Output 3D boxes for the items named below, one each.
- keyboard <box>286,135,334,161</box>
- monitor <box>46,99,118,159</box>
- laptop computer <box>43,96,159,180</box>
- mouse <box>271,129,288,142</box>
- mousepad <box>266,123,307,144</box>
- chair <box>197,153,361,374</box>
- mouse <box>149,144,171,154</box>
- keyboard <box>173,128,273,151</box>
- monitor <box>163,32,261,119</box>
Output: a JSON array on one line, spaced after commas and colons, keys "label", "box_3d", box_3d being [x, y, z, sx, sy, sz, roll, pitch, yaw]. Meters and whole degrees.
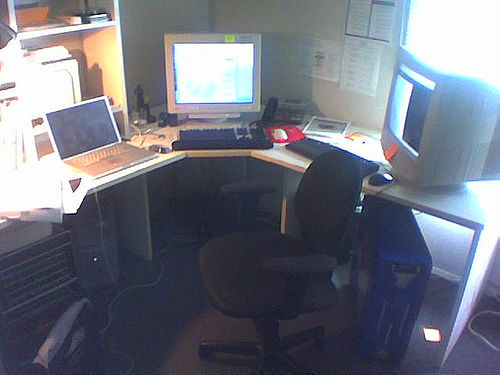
[{"label": "keyboard", "box_3d": [0.344, -0.236, 2.425, 0.151, 0.045, 0.215, -29, 46, -27]}, {"label": "monitor", "box_3d": [-0.911, -0.311, 2.274, 0.277, 0.199, 0.004, -27, 16, -38]}, {"label": "laptop computer", "box_3d": [-0.793, -0.204, 2.261, 0.473, 0.300, 0.466, 28, 39, 30]}, {"label": "mouse", "box_3d": [0.177, -0.312, 2.540, 0.085, 0.082, 0.068, 22, 9, 17]}, {"label": "mousepad", "box_3d": [0.216, -0.331, 2.604, 0.158, 0.059, 0.147, -8, 33, -25]}, {"label": "chair", "box_3d": [0.051, 0.199, 2.513, 0.882, 1.479, 1.114, 0, 24, -8]}, {"label": "mouse", "box_3d": [-0.506, -0.218, 2.404, 0.088, 0.037, 0.054, 10, 13, 26]}, {"label": "keyboard", "box_3d": [-0.156, -0.291, 2.526, 0.571, 0.061, 0.221, -1, 28, -4]}, {"label": "monitor", "box_3d": [-0.236, -0.759, 2.791, 0.607, 0.531, 0.343, -2, 27, -7]}]
